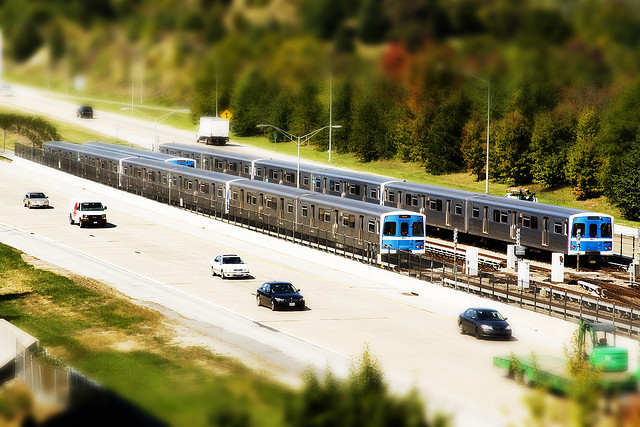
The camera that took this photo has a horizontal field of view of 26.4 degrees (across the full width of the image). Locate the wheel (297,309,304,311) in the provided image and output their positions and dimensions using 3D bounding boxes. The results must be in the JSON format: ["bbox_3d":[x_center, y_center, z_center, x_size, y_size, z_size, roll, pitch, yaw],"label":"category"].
[{"bbox_3d":[-1.031,5.761,82.218,0.322,0.075,0.193,3,7,-33],"label":"wheel"}]

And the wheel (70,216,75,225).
[{"bbox_3d":[-19.272,0.403,106.914,0.500,0.693,0.250,0,3,2],"label":"wheel"}]

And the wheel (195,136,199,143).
[{"bbox_3d":[-14.658,-9.293,165.462,0.228,0.790,0.849,3,1,-41],"label":"wheel"}]

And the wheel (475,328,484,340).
[{"bbox_3d":[9.089,6.789,77.285,0.555,0.663,0.363,9,6,23],"label":"wheel"}]

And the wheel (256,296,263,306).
[{"bbox_3d":[-3.564,5.256,82.858,0.213,0.593,0.588,-1,1,-25],"label":"wheel"}]

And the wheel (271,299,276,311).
[{"bbox_3d":[-2.720,5.447,82.116,0.271,0.717,0.296,6,5,-1],"label":"wheel"}]

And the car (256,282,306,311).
[{"bbox_3d":[-2.376,4.903,83.511,2.066,1.551,4.791,-1,3,-21],"label":"car"}]

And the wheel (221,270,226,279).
[{"bbox_3d":[-6.219,3.881,89.442,0.205,0.590,0.587,1,-2,-11],"label":"wheel"}]

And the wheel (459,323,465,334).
[{"bbox_3d":[8.259,6.549,78.398,0.148,0.612,0.455,3,6,-31],"label":"wheel"}]

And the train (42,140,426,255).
[{"bbox_3d":[-7.752,-1.313,111.017,4.457,4.180,83.069,-6,8,-37],"label":"train"}]

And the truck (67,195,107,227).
[{"bbox_3d":[-18.210,-0.277,106.527,1.838,1.519,3.387,-2,4,-28],"label":"truck"}]

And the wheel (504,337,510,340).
[{"bbox_3d":[10.655,7.027,77.271,0.245,0.163,0.131,-3,2,-20],"label":"wheel"}]

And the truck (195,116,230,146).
[{"bbox_3d":[-12.748,-10.198,163.139,2.570,2.863,5.595,0,5,-27],"label":"truck"}]
